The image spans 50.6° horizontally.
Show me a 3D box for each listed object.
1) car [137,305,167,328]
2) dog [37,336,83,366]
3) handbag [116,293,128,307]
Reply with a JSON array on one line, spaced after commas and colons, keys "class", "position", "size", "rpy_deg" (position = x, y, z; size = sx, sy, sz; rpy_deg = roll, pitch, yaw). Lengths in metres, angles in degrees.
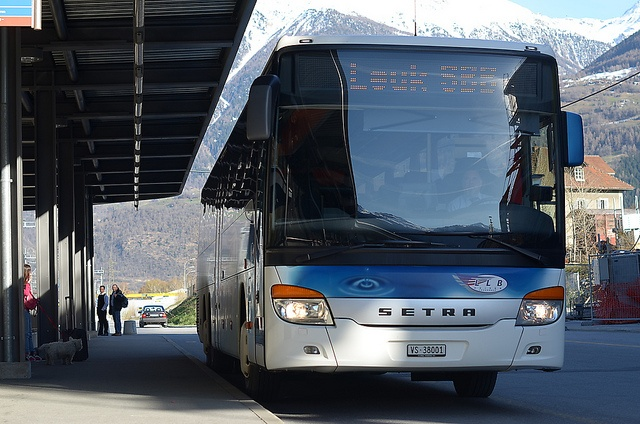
[{"class": "car", "position": [-14.795, 9.046, 59.203], "size": [1.991, 1.769, 3.466], "rpy_deg": [2, -5, -28]}, {"class": "dog", "position": [-6.483, 3.396, 16.647], "size": [0.444, 0.691, 1.297], "rpy_deg": [-5, -11, 44]}, {"class": "handbag", "position": [-10.121, 4.417, 34.253], "size": [0.439, 0.651, 1.115], "rpy_deg": [-1, -4, 2]}]
